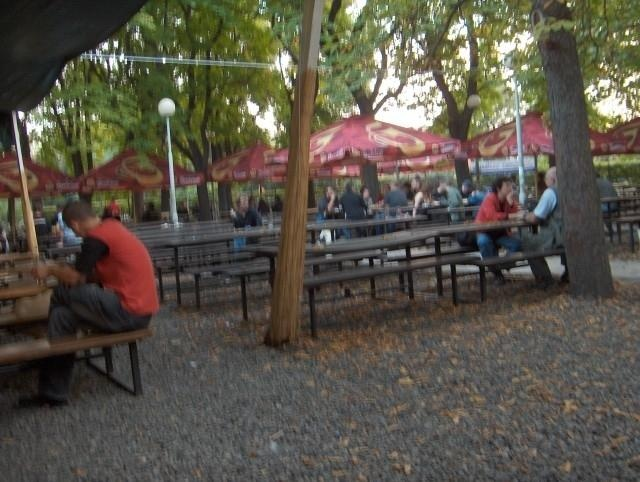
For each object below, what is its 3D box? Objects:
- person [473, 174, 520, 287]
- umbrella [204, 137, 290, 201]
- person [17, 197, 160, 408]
[{"bbox_3d":[3.405,-0.265,10.166,0.964,1.984,0.979,3,6,43],"label":"person"},{"bbox_3d":[-2.283,-2.462,17.368,2.009,1.118,2.224,2,8,27],"label":"umbrella"},{"bbox_3d":[-2.373,0.265,5.788,1.125,1.436,0.426,-6,7,-16],"label":"person"}]
